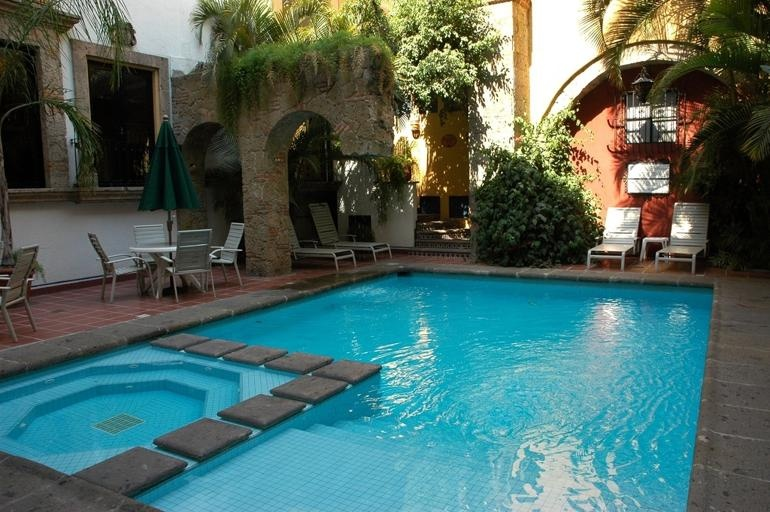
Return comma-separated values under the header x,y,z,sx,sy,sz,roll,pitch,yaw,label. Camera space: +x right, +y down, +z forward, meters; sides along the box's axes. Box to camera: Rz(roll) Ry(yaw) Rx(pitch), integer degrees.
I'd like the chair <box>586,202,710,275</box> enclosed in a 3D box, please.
x,y,z,sx,sy,sz,roll,pitch,yaw,label
6.408,-0.549,11.681,2.455,1.491,2.729,5,12,21,chair

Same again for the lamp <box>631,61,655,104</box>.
x,y,z,sx,sy,sz,roll,pitch,yaw,label
5.868,-3.951,11.089,0.556,0.769,0.554,-4,8,-1,lamp
